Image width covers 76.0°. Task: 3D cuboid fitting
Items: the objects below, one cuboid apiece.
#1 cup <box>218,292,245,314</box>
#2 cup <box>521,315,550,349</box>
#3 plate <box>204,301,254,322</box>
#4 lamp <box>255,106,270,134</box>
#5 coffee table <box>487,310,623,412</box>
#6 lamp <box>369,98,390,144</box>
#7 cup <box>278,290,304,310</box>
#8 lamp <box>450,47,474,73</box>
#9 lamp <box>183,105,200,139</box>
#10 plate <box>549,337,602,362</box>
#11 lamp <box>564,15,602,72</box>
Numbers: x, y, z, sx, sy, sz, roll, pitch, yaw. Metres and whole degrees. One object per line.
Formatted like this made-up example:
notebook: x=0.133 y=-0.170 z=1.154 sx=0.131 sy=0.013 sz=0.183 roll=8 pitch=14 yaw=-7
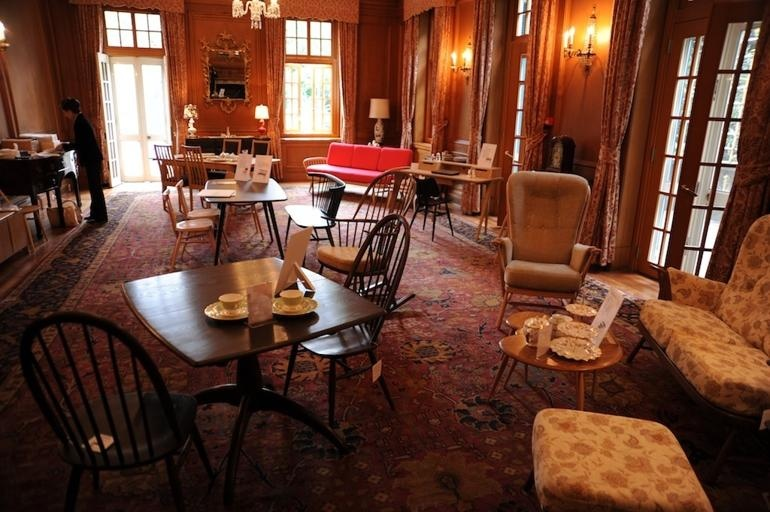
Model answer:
cup: x=-0.916 y=0.284 z=2.955 sx=0.126 sy=0.080 sz=0.119 roll=1 pitch=14 yaw=0
cup: x=1.039 y=0.534 z=3.413 sx=0.200 sy=0.182 sz=0.197 roll=-1 pitch=9 yaw=0
plate: x=-0.945 y=0.337 z=2.944 sx=0.268 sy=0.065 sz=0.190 roll=-1 pitch=18 yaw=-2
lamp: x=-2.638 y=-2.897 z=10.563 sx=0.285 sy=0.622 sz=0.436 roll=-4 pitch=20 yaw=-12
coffee table: x=1.227 y=0.709 z=3.586 sx=0.852 sy=0.455 sz=0.764 roll=11 pitch=29 yaw=15
lamp: x=-0.123 y=-2.867 z=10.706 sx=0.414 sy=1.011 sz=0.917 roll=0 pitch=19 yaw=0
cup: x=-0.586 y=0.270 z=2.989 sx=0.117 sy=0.075 sz=0.111 roll=4 pitch=15 yaw=-1
lamp: x=1.291 y=-3.313 z=8.440 sx=0.132 sy=0.498 sz=0.628 roll=-6 pitch=20 yaw=-17
lamp: x=-3.993 y=-2.773 z=10.145 sx=0.297 sy=0.618 sz=0.537 roll=-7 pitch=20 yaw=-19
plate: x=1.264 y=0.633 z=3.291 sx=0.212 sy=0.033 sz=0.199 roll=-1 pitch=26 yaw=-7
lamp: x=2.395 y=-2.650 z=6.134 sx=0.224 sy=0.745 sz=0.569 roll=-4 pitch=20 yaw=-11
